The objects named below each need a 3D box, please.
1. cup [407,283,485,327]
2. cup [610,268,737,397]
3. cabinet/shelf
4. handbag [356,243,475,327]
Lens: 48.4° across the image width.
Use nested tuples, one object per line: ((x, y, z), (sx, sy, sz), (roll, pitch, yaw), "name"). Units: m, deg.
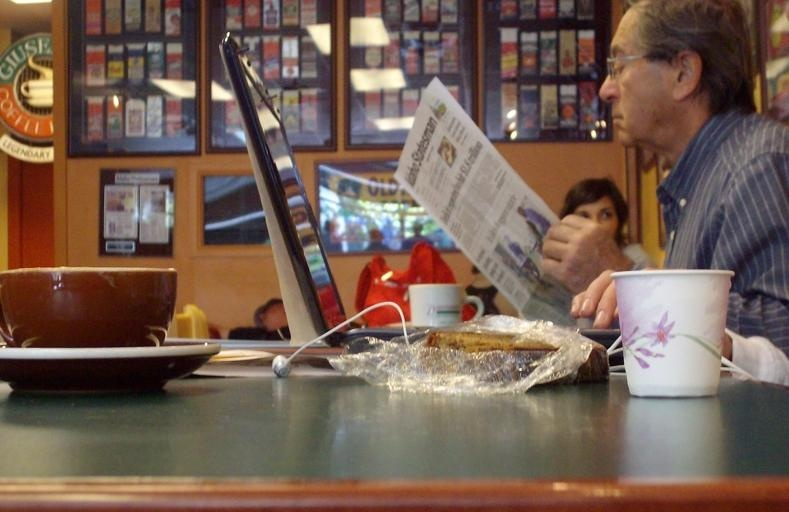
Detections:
((0.122, 0.133, 2.389), (0.151, 0.089, 0.122), (0, -2, 16), "cup")
((0.422, 0.115, 1.382), (0.184, 0.181, 0.178), (1, -3, 0), "cup")
((0.117, -0.267, 2.554), (1.177, 0.842, 0.650), (0, 0, 1), "cabinet/shelf")
((0.023, 0.085, 2.644), (0.203, 0.262, 0.358), (0, -3, 8), "handbag")
